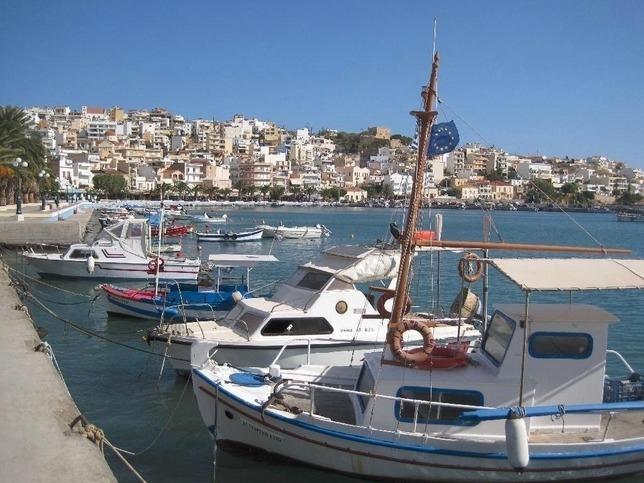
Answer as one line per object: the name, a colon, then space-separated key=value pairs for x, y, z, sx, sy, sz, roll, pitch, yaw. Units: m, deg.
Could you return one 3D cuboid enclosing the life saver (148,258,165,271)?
life saver: x=-6.894 y=0.975 z=30.451 sx=0.497 sy=0.676 sz=0.251 roll=9 pitch=4 yaw=-6
